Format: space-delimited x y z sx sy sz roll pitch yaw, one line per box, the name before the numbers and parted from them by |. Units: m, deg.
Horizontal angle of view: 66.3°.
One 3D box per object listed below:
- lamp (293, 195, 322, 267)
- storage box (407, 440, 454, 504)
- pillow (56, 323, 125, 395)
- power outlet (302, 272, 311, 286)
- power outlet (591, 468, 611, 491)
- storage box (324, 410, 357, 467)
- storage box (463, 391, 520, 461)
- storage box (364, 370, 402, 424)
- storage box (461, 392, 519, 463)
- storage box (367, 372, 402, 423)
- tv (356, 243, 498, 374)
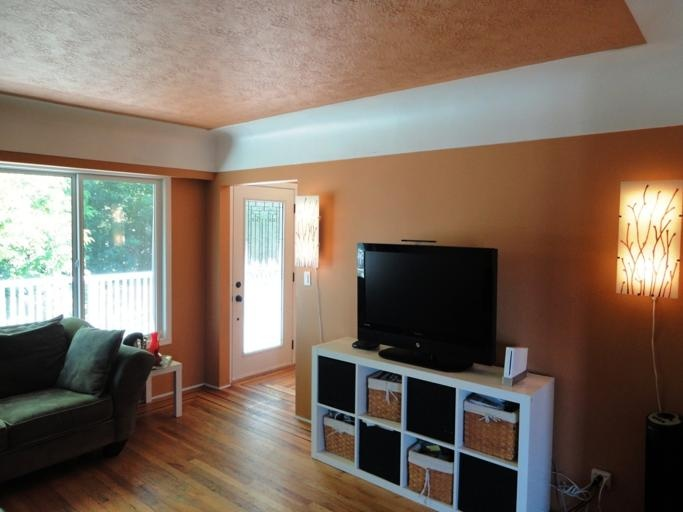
lamp | -0.338 -0.231 4.918 0.301 0.658 0.123 6 11 31
storage box | 0.659 1.599 3.924 0.340 0.395 0.404 3 -3 -44
pillow | -2.170 0.883 4.476 0.574 0.499 0.304 0 -1 28
power outlet | -0.343 0.224 5.071 0.123 0.172 0.030 4 6 43
power outlet | 1.787 1.527 3.596 0.128 0.107 0.034 5 10 26
storage box | 0.059 1.546 4.401 0.392 0.290 0.248 1 -7 45
storage box | 0.998 1.318 3.740 0.390 0.316 0.365 20 45 -4
storage box | 0.298 1.176 4.194 0.307 0.308 0.249 14 -30 -16
storage box | 1.090 1.205 3.746 0.367 0.364 0.300 5 7 30
storage box | 0.294 1.177 4.197 0.319 0.309 0.251 15 -30 -18
tv | 0.647 0.387 4.157 1.258 0.939 0.341 5 8 40
